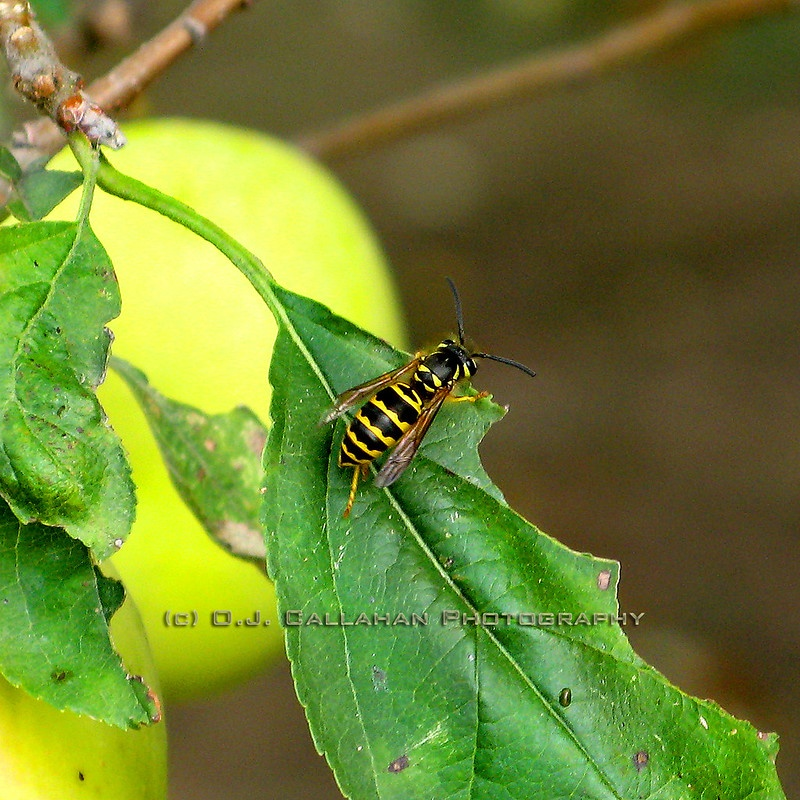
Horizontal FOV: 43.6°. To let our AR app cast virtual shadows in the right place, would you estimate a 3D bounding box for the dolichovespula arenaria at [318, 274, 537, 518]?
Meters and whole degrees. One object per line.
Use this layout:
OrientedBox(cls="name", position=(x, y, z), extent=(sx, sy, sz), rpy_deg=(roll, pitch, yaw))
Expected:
OrientedBox(cls="dolichovespula arenaria", position=(0.013, 0.008, 1.519), extent=(0.174, 0.085, 0.286), rpy_deg=(38, 69, 24))
